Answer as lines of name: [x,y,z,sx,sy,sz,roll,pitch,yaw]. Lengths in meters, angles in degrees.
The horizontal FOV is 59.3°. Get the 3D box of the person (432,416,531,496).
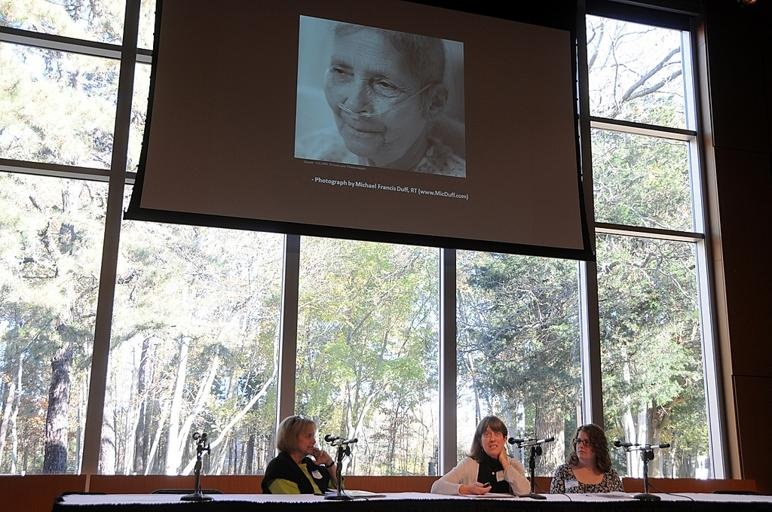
person: [0.793,1.610,5.522,0.552,0.598,0.889,-7,-16,34]
